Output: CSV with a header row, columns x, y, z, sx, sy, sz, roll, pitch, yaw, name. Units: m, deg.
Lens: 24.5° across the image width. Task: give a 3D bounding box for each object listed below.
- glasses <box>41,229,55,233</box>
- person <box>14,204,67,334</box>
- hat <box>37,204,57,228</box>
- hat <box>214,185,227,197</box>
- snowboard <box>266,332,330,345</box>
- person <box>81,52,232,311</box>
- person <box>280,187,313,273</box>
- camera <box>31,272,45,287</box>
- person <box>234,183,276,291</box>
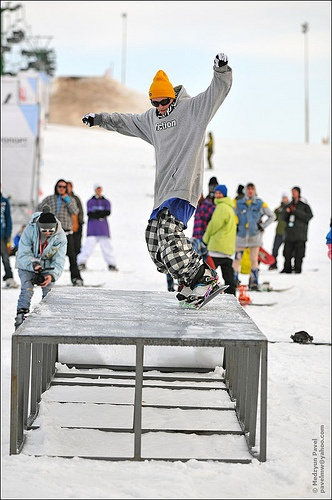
x,y,z,sx,sy,sz,roll,pitch,yaw,name
-0.831,-0.124,5.335,0.095,0.039,0.072,0,6,-15,glasses
-0.895,0.126,5.439,0.359,0.855,0.290,0,7,-10,person
-0.838,-0.227,5.356,0.105,0.119,0.142,3,0,-4,hat
0.568,-0.607,8.028,0.095,0.117,0.130,-3,-40,20,hat
1.096,0.730,6.236,0.500,0.078,0.253,2,6,7,snowboard
0.061,-0.385,4.659,0.494,1.466,1.218,-3,7,-29,person
1.898,-0.246,11.116,0.397,1.325,1.168,2,6,9,person
-0.915,0.212,5.436,0.089,0.110,0.194,0,6,-13,camera
1.042,-0.122,9.029,0.463,1.299,0.581,2,7,5,person
